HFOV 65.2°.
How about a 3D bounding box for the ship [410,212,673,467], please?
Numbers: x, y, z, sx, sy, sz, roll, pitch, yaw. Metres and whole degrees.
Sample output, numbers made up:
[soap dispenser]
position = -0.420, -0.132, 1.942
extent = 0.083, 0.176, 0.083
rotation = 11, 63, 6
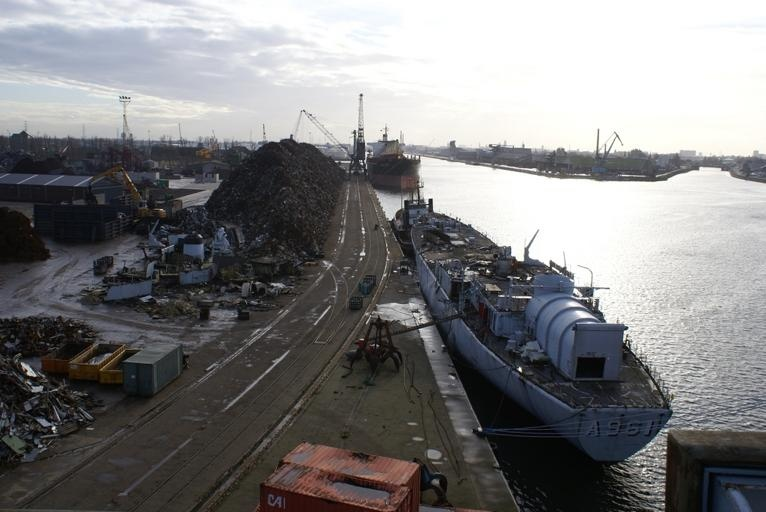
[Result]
[ship]
position = 9.932, 2.709, 55.643
extent = 11.209, 9.709, 46.360
rotation = 1, 13, -5
